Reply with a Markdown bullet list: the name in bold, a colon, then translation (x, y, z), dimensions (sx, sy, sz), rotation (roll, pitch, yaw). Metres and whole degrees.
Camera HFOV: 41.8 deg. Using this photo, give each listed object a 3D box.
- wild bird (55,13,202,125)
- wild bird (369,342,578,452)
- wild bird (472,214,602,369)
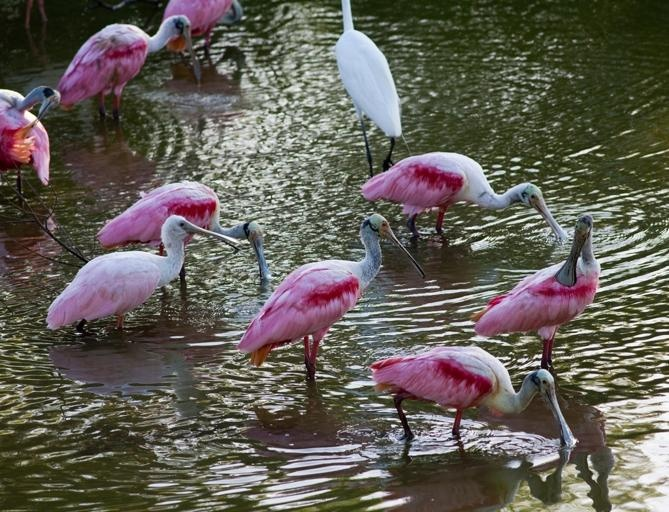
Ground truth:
- **wild bird**: translation (-3.087, -2.749, 13.225), dimensions (0.977, 1.429, 2.202), rotation (29, 45, 11)
- **wild bird**: translation (1.049, 1.101, 6.540), dimensions (1.563, 0.420, 0.639), rotation (5, 82, 25)
- **wild bird**: translation (1.737, 0.257, 7.159), dimensions (0.712, 1.123, 0.865), rotation (29, 47, 11)
